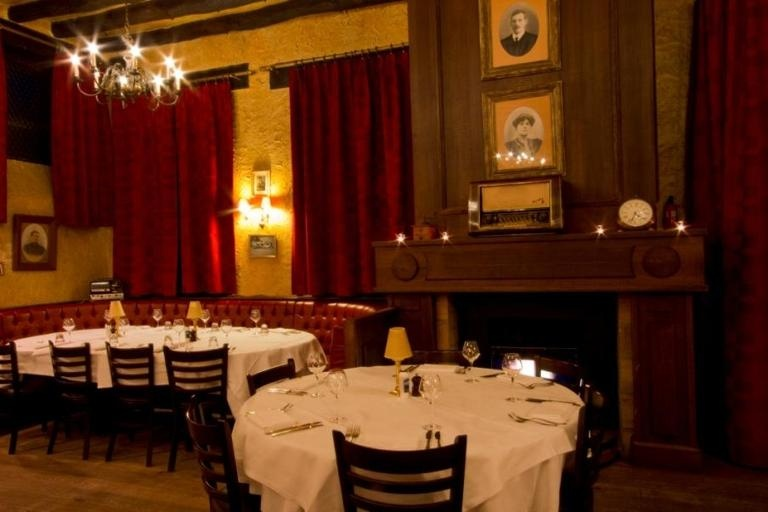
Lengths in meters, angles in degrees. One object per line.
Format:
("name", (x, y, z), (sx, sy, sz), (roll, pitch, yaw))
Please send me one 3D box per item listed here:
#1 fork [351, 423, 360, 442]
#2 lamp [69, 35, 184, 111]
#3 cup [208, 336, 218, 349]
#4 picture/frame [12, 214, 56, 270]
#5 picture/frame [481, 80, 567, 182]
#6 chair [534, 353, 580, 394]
("fork", (-0.229, 1.368, 5.082), (0.053, 0.019, 0.107), (5, 37, 5))
("lamp", (-3.520, -2.501, 8.906), (1.514, 1.101, 1.367), (3, 12, 8))
("cup", (-1.897, 0.953, 7.183), (0.099, 0.107, 0.090), (-2, -3, 0))
("picture/frame", (-4.959, -0.215, 9.152), (0.138, 1.063, 0.758), (-1, -2, 30))
("picture/frame", (1.635, -1.435, 7.381), (1.080, 1.252, 0.125), (-2, -2, 16))
("chair", (1.666, 1.133, 6.244), (0.316, 0.602, 0.325), (1, -6, -19))
